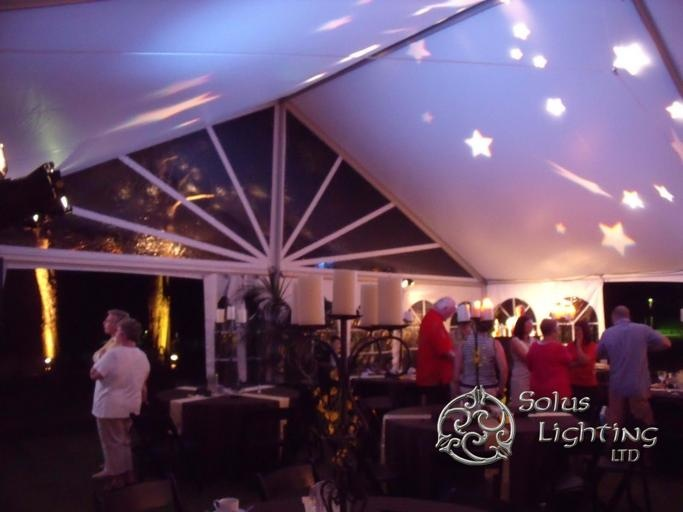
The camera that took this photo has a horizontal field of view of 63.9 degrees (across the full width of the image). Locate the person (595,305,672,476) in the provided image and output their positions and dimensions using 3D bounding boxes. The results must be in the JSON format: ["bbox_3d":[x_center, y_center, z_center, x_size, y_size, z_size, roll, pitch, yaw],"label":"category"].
[{"bbox_3d":[2.189,0.901,4.177,0.427,1.150,0.317,-3,18,27],"label":"person"}]

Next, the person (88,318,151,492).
[{"bbox_3d":[-1.982,1.310,4.882,0.459,1.498,0.367,2,-4,-23],"label":"person"}]
